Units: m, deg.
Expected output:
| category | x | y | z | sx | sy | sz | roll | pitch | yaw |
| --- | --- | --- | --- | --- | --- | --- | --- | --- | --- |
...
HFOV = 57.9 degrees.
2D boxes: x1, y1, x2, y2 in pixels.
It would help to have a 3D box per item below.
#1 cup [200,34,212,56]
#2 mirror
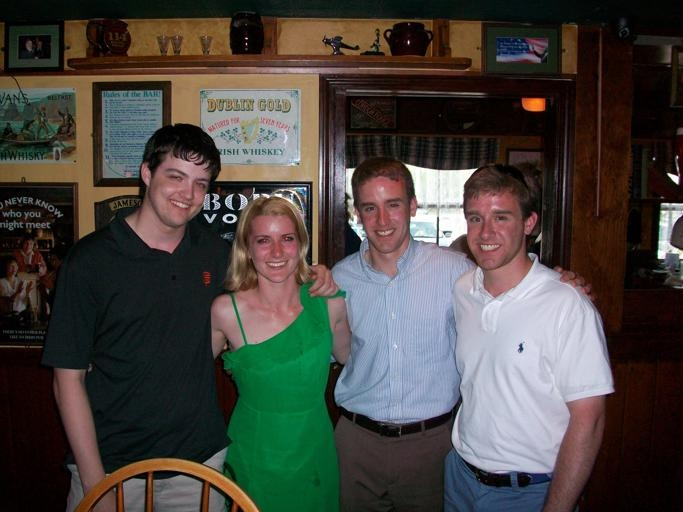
| category | x | y | z | sx | sy | sz | roll | pitch | yaw |
| --- | --- | --- | --- | --- | --- | --- | --- | --- | --- |
| cup | -0.900 | -1.401 | 4.109 | 0.075 | 0.155 | 0.196 | -2 | 3 | -11 |
| mirror | 0.794 | -0.742 | 4.712 | 1.732 | 1.473 | 0.553 | 0 | 0 | -1 |
